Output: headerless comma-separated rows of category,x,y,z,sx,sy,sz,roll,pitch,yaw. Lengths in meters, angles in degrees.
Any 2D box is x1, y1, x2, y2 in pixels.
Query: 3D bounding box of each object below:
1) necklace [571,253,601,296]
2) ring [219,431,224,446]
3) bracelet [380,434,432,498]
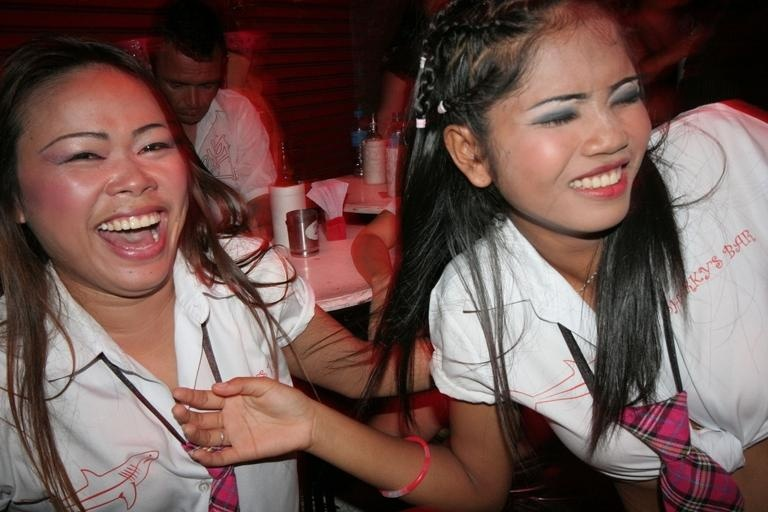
necklace,0.804,0.079,2.336,0.057,0.207,0.051,15,16,-15
ring,-0.589,0.662,2.115,0.013,0.037,0.038,3,24,-18
bracelet,0.112,0.875,2.331,0.225,0.047,0.228,-46,7,-20
